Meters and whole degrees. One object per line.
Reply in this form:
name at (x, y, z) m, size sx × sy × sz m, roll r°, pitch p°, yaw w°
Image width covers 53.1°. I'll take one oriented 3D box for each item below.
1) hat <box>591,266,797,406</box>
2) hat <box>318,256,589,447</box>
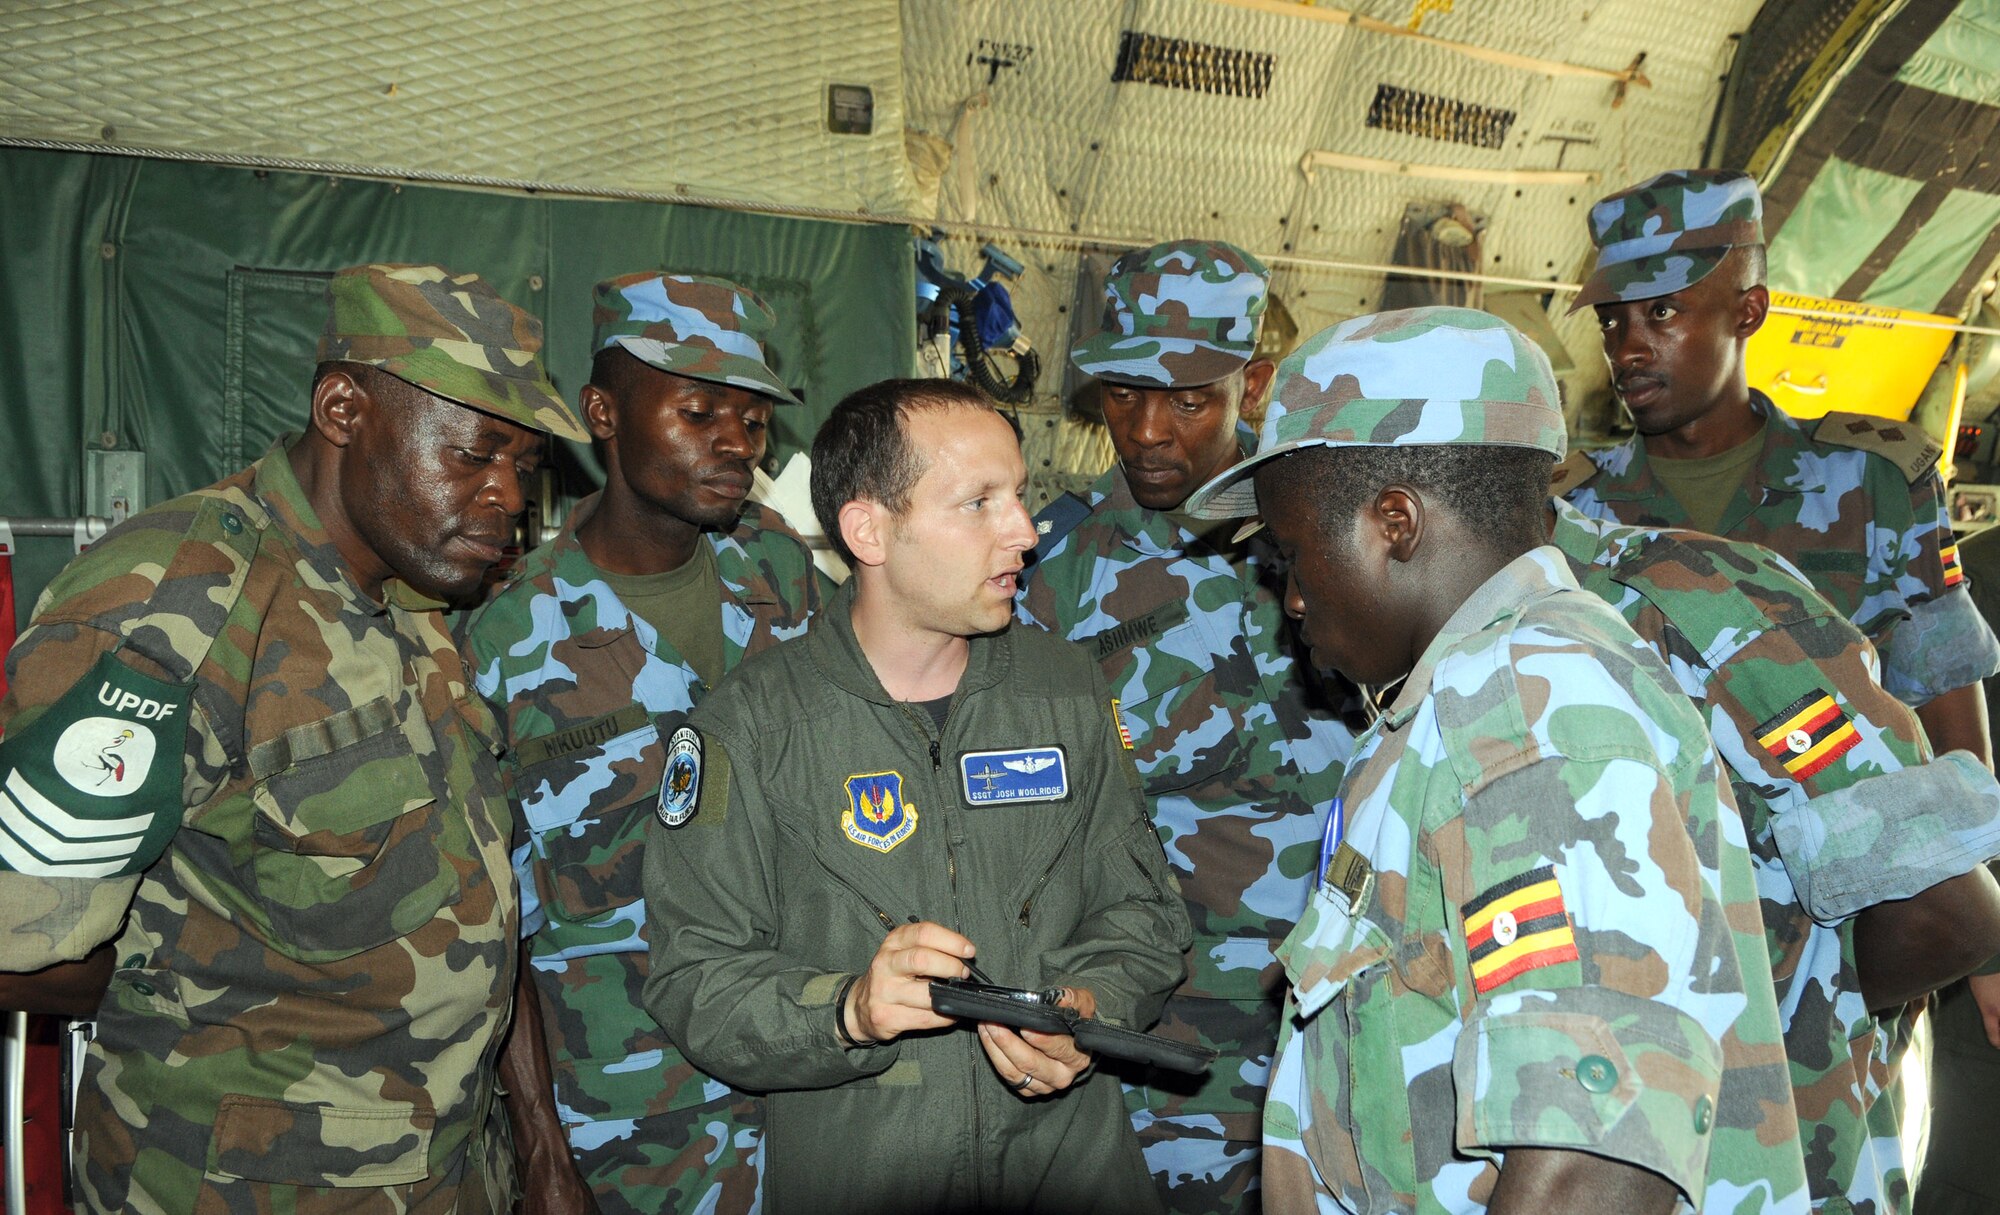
hat at (-1.129, -1.029, 7.312) m, size 0.618 × 0.299 × 0.482 m, roll 12°, pitch -2°, yaw 39°
hat at (-1.862, -0.887, 6.683) m, size 0.763 × 0.384 × 0.567 m, roll 16°, pitch -1°, yaw 15°
